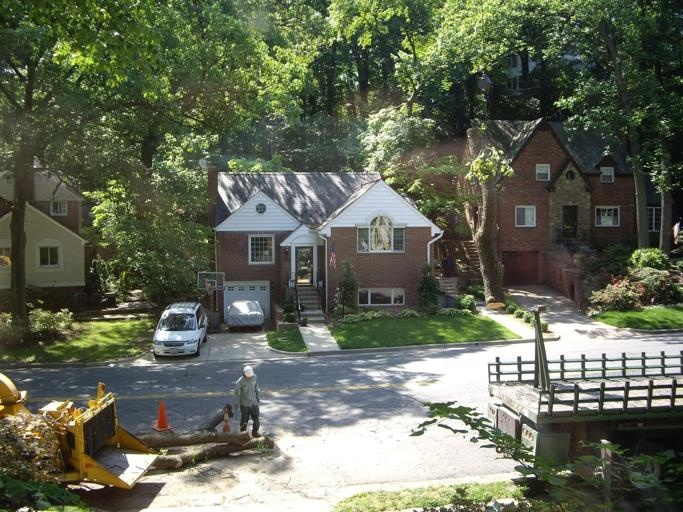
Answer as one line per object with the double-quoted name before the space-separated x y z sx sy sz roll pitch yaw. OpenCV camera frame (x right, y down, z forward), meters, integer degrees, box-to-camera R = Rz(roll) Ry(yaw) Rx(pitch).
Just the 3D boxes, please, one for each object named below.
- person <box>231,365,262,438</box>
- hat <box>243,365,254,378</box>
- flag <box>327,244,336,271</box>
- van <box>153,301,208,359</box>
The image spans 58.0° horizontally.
"person" -2.949 4.560 19.299 0.752 2.147 0.531 -2 -3 7
"hat" -2.929 3.651 19.249 0.308 0.340 0.306 -2 -3 0
"flag" -0.578 0.016 38.987 0.583 1.719 0.821 -2 -3 -3
"van" -8.025 3.676 30.963 1.798 1.390 3.273 0 3 -1
